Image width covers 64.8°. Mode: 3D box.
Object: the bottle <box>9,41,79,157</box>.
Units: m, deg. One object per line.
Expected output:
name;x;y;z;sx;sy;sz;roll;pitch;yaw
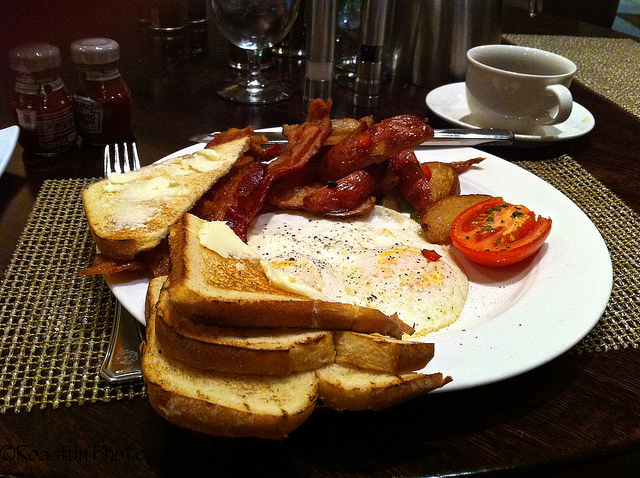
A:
bottle;-0.887;-0.444;1.674;0.173;0.379;0.208;15;28;41

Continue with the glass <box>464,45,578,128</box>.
glass;0.724;-0.563;1.883;0.383;0.224;0.339;13;37;14
